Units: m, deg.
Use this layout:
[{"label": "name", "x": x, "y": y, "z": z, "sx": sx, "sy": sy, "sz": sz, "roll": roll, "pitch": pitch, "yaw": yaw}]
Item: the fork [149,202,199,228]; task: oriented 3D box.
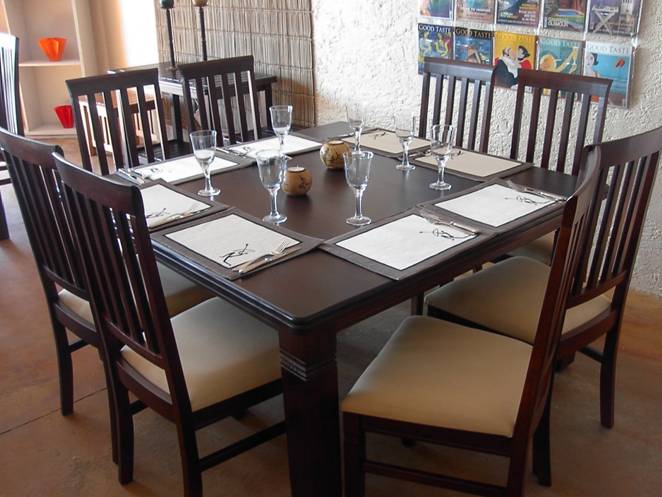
[{"label": "fork", "x": -0.519, "y": -0.106, "z": 1.606, "sx": 0.066, "sy": 0.017, "sz": 0.150, "roll": 23, "pitch": 29, "yaw": 34}]

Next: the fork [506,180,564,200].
[{"label": "fork", "x": 0.710, "y": -0.199, "z": 1.713, "sx": 0.151, "sy": 0.026, "sz": 0.021, "roll": 27, "pitch": 45, "yaw": 31}]
